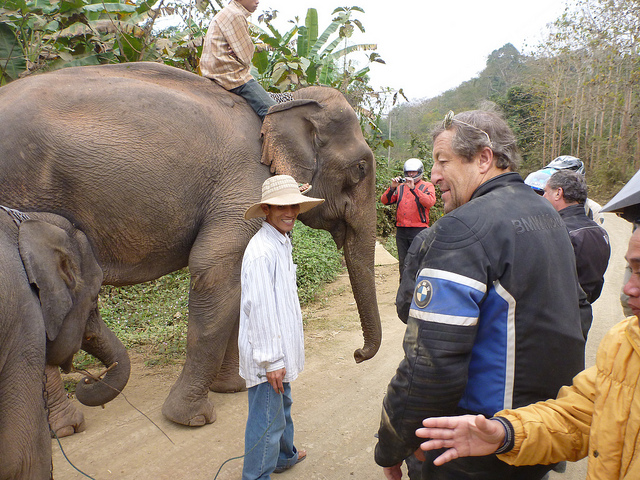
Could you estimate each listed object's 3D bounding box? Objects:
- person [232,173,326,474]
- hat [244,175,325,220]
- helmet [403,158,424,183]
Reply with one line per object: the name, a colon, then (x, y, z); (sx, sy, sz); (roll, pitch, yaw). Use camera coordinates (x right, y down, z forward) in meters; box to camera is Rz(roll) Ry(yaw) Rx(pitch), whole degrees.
person: (-0.278, 0.624, 3.833); (0.519, 2.131, 0.977); (2, 13, -1)
hat: (-0.258, -0.271, 3.692); (0.478, 0.320, 0.326); (7, 13, 22)
helmet: (1.367, -0.970, 7.708); (0.258, 0.303, 0.324); (-1, 11, 17)
